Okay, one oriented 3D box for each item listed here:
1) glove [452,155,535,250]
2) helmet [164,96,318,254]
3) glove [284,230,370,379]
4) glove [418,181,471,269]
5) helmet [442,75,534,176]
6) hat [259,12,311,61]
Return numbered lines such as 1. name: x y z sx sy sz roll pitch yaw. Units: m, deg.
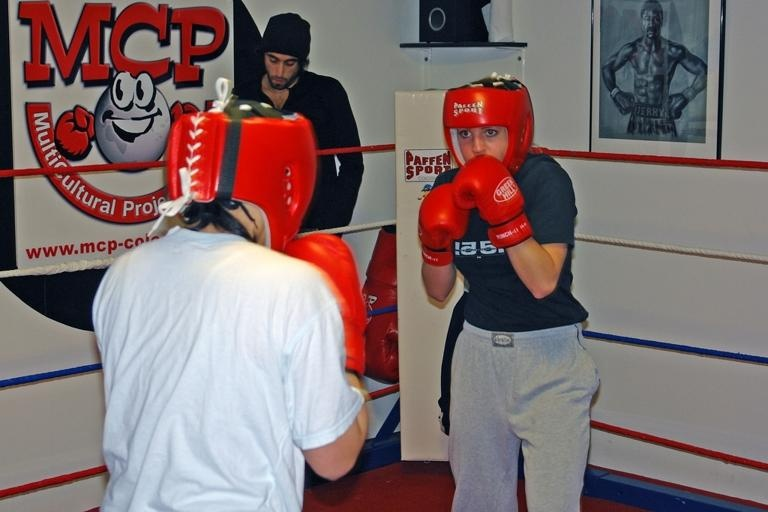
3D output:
1. glove: 0.347 -0.170 2.521 0.223 0.305 0.143 -25 -2 -30
2. helmet: -0.305 -0.234 1.990 0.303 0.380 0.395 11 21 34
3. glove: -0.084 0.104 1.913 0.124 0.309 0.299 -4 7 -3
4. glove: 0.184 -0.108 2.614 0.125 0.263 0.183 -4 25 -38
5. helmet: 0.381 -0.440 2.685 0.272 0.353 0.366 7 13 30
6. hat: -0.439 -1.008 3.512 0.220 0.187 0.171 11 17 17
